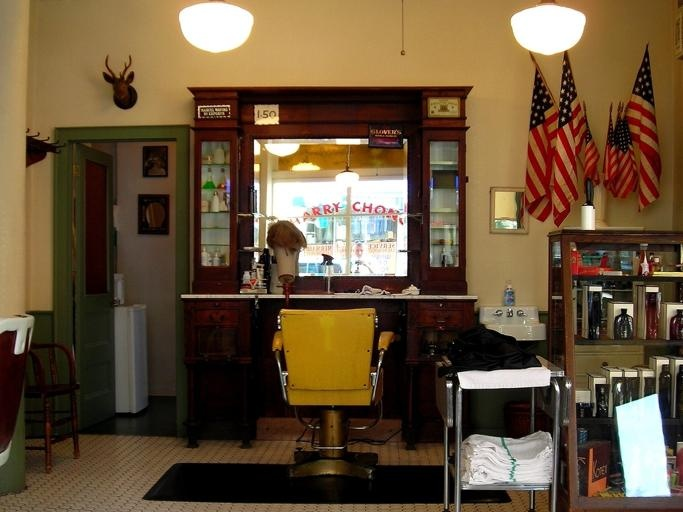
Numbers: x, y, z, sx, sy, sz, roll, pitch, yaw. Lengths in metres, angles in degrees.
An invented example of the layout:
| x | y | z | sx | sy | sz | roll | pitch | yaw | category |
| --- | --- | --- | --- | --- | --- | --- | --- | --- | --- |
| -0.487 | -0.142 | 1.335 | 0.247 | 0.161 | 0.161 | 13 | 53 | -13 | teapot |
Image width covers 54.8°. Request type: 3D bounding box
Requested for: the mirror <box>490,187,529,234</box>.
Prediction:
| x | y | z | sx | sy | sz | roll | pitch | yaw | category |
| --- | --- | --- | --- | --- | --- | --- | --- | --- | --- |
| 1.622 | -0.456 | 6.412 | 0.391 | 0.522 | 0.020 | 0 | -2 | -6 | mirror |

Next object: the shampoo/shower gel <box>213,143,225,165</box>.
| x | y | z | sx | sy | sz | roll | pitch | yaw | category |
| --- | --- | --- | --- | --- | --- | --- | --- | --- | --- |
| -1.167 | -0.982 | 6.259 | 0.108 | 0.185 | 0.035 | -3 | 5 | -13 | shampoo/shower gel |

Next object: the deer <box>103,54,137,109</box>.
| x | y | z | sx | sy | sz | roll | pitch | yaw | category |
| --- | --- | --- | --- | --- | --- | --- | --- | --- | --- |
| -2.158 | -1.716 | 6.402 | 0.319 | 0.539 | 0.398 | -4 | 5 | -21 | deer |

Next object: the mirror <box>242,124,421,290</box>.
| x | y | z | sx | sy | sz | roll | pitch | yaw | category |
| --- | --- | --- | --- | --- | --- | --- | --- | --- | --- |
| -0.071 | -0.485 | 6.401 | 1.372 | 1.372 | 0.488 | 0 | 2 | 4 | mirror |

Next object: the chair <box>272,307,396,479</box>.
| x | y | z | sx | sy | sz | roll | pitch | yaw | category |
| --- | --- | --- | --- | --- | --- | --- | --- | --- | --- |
| -0.053 | 1.104 | 5.670 | 1.170 | 1.835 | 1.246 | 0 | 1 | 2 | chair |

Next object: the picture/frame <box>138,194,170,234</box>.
| x | y | z | sx | sy | sz | roll | pitch | yaw | category |
| --- | --- | --- | --- | --- | --- | --- | --- | --- | --- |
| -2.180 | -0.480 | 7.663 | 0.392 | 0.550 | 0.039 | -1 | -3 | -3 | picture/frame |

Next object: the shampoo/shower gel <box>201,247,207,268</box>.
| x | y | z | sx | sy | sz | roll | pitch | yaw | category |
| --- | --- | --- | --- | --- | --- | --- | --- | --- | --- |
| -1.298 | -0.004 | 6.233 | 0.059 | 0.169 | 0.035 | -1 | 5 | 7 | shampoo/shower gel |

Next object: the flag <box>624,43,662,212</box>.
| x | y | z | sx | sy | sz | roll | pitch | yaw | category |
| --- | --- | --- | --- | --- | --- | --- | --- | --- | --- |
| 2.915 | -1.243 | 6.314 | 0.261 | 1.562 | 0.391 | 3 | 7 | 44 | flag |

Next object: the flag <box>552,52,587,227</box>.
| x | y | z | sx | sy | sz | roll | pitch | yaw | category |
| --- | --- | --- | --- | --- | --- | --- | --- | --- | --- |
| 2.151 | -1.106 | 6.276 | 0.420 | 1.627 | 0.276 | -5 | 6 | -35 | flag |

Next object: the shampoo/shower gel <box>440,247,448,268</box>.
| x | y | z | sx | sy | sz | roll | pitch | yaw | category |
| --- | --- | --- | --- | --- | --- | --- | --- | --- | --- |
| 0.967 | 0.005 | 6.193 | 0.057 | 0.172 | 0.042 | -1 | 5 | 9 | shampoo/shower gel |
